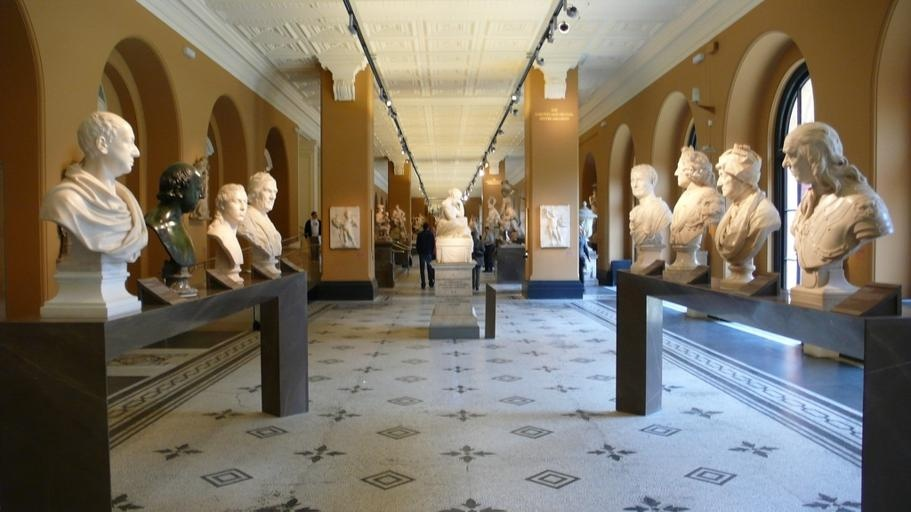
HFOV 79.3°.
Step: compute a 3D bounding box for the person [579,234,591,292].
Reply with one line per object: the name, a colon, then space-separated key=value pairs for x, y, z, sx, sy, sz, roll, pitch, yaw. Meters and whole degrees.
person: x=4.416 y=0.073 z=18.833 sx=0.363 sy=1.679 sz=1.565 roll=3 pitch=14 yaw=14
